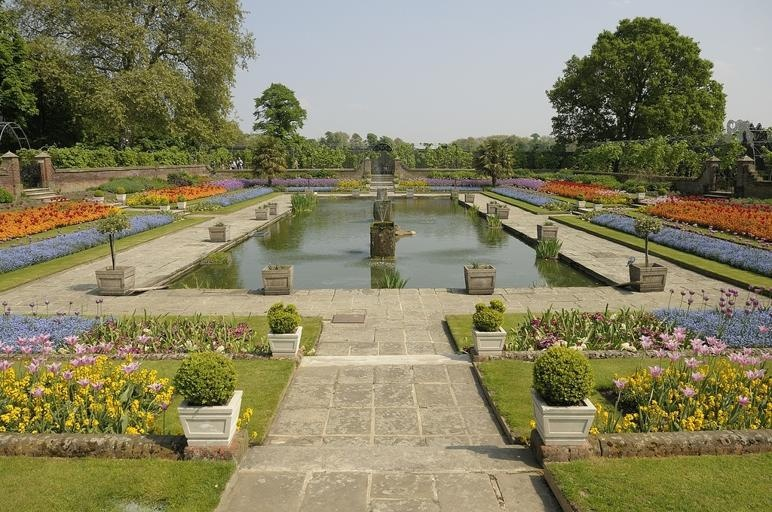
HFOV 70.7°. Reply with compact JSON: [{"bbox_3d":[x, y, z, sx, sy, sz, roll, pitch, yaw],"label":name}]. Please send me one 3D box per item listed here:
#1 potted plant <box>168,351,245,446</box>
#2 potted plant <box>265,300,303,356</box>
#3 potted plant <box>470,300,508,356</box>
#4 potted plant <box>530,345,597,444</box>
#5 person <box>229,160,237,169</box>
[{"bbox_3d":[-2.798,2.272,8.579,0.958,1.361,0.649,-3,14,-11],"label":"potted plant"},{"bbox_3d":[-2.220,1.589,12.183,1.211,1.306,1.047,1,6,-2],"label":"potted plant"},{"bbox_3d":[2.216,1.634,11.731,0.669,0.961,0.497,4,14,19],"label":"potted plant"},{"bbox_3d":[2.802,2.214,8.543,0.955,1.396,0.711,2,14,12],"label":"potted plant"},{"bbox_3d":[-18.192,-10.870,64.738,1.050,0.460,1.305,-1,21,-4],"label":"person"}]
